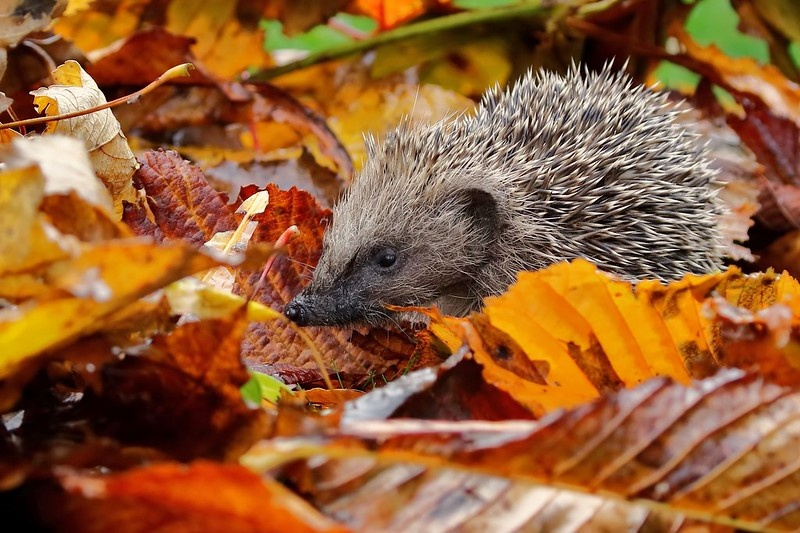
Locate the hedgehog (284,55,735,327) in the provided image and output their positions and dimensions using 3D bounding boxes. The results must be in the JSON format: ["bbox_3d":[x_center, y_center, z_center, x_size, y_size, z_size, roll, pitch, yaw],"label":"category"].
[{"bbox_3d":[0.264,-0.163,2.061,0.951,0.500,0.579,-5,33,-5],"label":"hedgehog"}]
